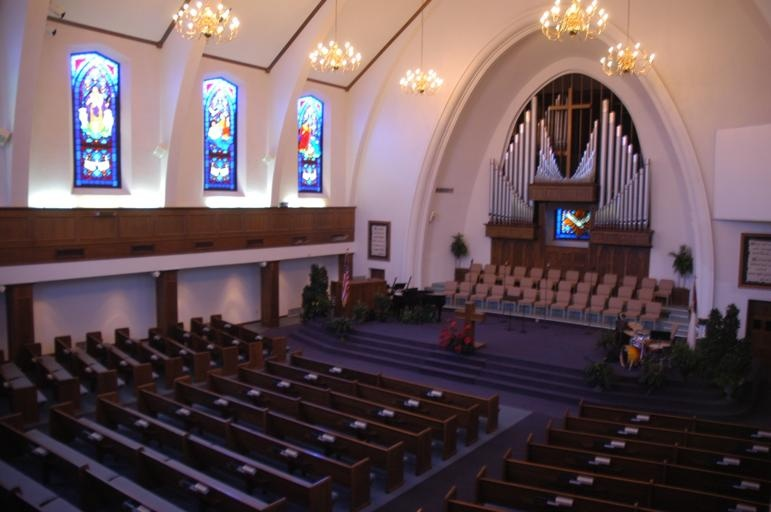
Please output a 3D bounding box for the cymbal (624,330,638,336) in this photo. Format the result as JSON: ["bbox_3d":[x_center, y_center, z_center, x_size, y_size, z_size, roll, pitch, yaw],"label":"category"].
[{"bbox_3d":[6.776,2.159,15.851,0.250,0.157,0.252,2,3,25],"label":"cymbal"}]

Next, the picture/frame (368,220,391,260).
[{"bbox_3d":[-0.188,-0.678,23.493,1.424,2.079,0.159,3,3,36],"label":"picture/frame"}]

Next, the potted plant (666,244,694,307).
[{"bbox_3d":[10.226,0.631,19.723,0.613,1.972,0.443,2,2,25],"label":"potted plant"}]

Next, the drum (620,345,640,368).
[{"bbox_3d":[6.554,2.702,15.517,0.543,0.479,0.427,-11,10,-28],"label":"drum"}]
